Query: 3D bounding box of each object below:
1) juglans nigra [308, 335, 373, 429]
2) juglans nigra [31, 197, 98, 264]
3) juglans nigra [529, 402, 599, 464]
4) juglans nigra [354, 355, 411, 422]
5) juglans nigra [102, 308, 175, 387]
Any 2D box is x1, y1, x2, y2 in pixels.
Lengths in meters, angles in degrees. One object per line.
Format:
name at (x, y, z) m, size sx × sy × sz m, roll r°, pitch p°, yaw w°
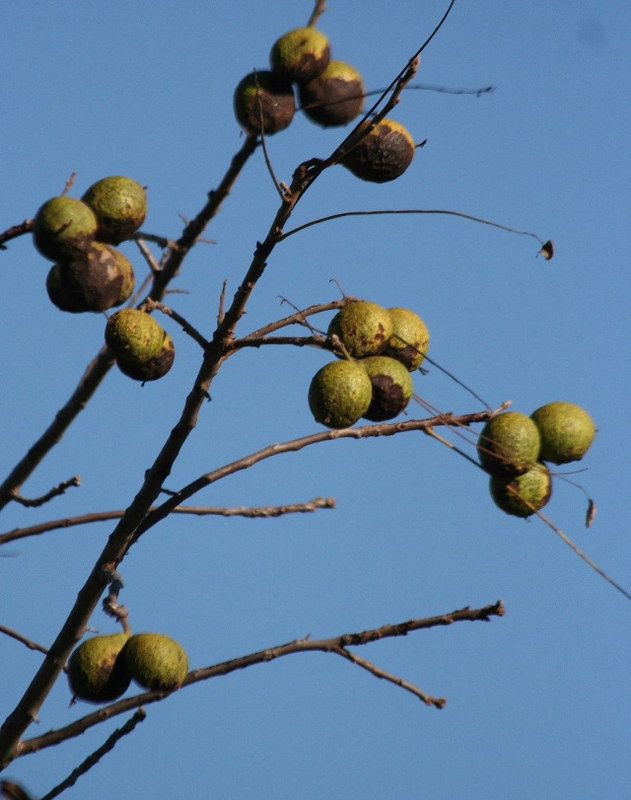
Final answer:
juglans nigra at (0.111, -0.057, 8.791) m, size 0.204 × 0.335 × 0.238 m, roll -6°, pitch -32°, yaw 21°
juglans nigra at (-1.057, -0.712, 8.583) m, size 0.203 × 0.283 × 0.218 m, roll 19°, pitch -1°, yaw 35°
juglans nigra at (1.064, 0.138, 8.785) m, size 0.201 × 0.277 × 0.300 m, roll 0°, pitch 2°, yaw -10°
juglans nigra at (0.292, -0.030, 8.974) m, size 0.247 × 0.374 × 0.271 m, roll -1°, pitch -10°, yaw 4°
juglans nigra at (-0.810, -0.259, 8.680) m, size 0.268 × 0.263 × 0.221 m, roll 8°, pitch -26°, yaw -25°
